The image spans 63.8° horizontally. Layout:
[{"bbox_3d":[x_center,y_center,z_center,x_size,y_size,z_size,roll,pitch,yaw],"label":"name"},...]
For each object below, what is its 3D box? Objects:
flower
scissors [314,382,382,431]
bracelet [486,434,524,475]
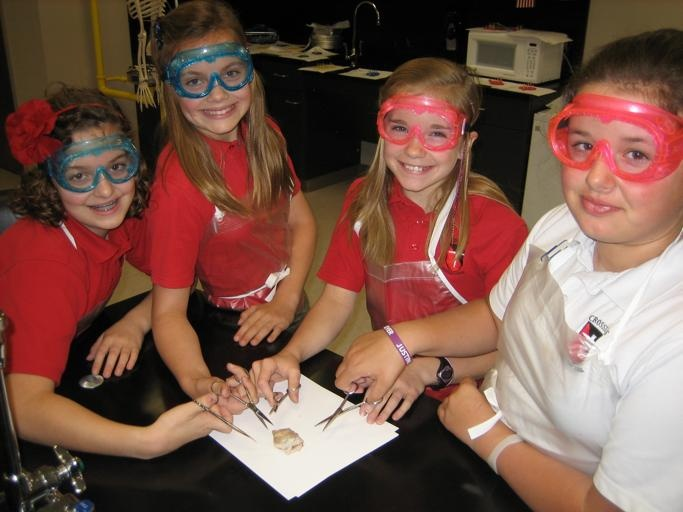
[{"bbox_3d":[-0.858,-0.345,1.529,0.130,0.155,0.066,-13,26,-20],"label":"flower"},{"bbox_3d":[0.001,0.392,1.394,0.068,0.030,0.168,23,31,35],"label":"scissors"},{"bbox_3d":[0.369,0.450,1.257,0.018,0.073,0.075,39,49,12],"label":"bracelet"}]
